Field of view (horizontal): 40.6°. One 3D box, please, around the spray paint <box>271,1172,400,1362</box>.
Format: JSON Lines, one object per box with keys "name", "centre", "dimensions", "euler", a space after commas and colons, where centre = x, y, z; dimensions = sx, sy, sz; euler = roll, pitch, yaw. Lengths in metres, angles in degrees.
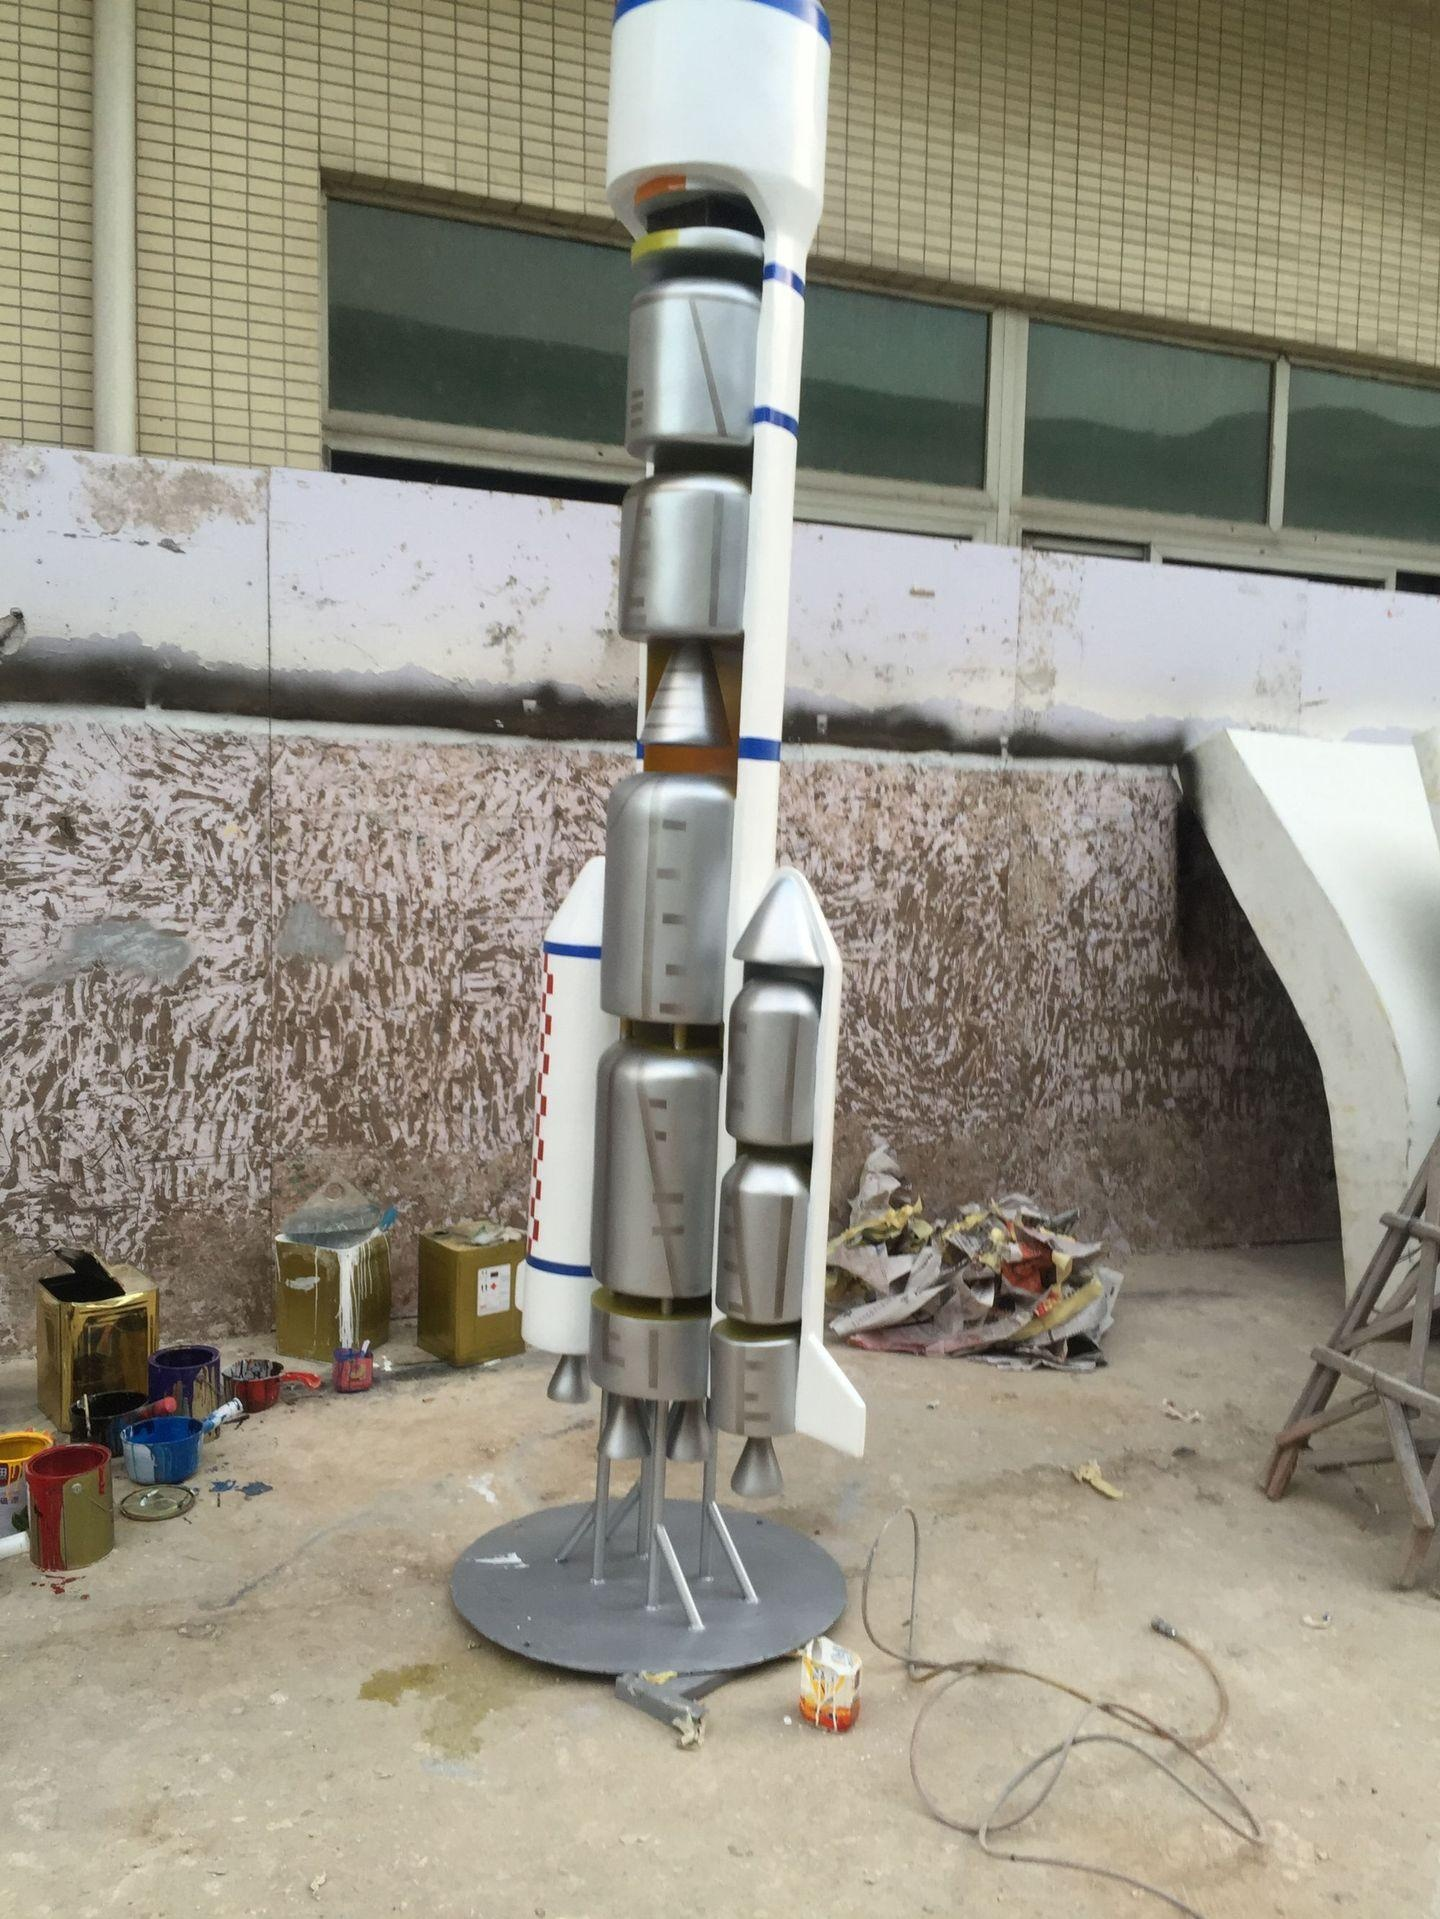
{"name": "spray paint", "centre": [-1.055, 0.900, 5.399], "dimensions": [0.242, 0.446, 0.263], "euler": [-7, 9, -37]}
